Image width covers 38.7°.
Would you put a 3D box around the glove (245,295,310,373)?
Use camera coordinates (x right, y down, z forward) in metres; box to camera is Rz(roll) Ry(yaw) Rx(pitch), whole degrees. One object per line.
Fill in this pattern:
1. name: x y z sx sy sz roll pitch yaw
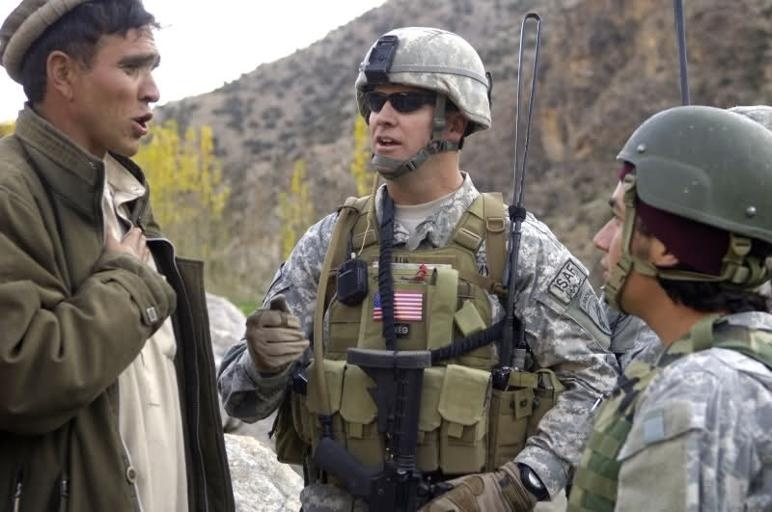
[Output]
1. glove: -0.537 0.413 5.785 0.329 0.365 0.541 1 -6 0
